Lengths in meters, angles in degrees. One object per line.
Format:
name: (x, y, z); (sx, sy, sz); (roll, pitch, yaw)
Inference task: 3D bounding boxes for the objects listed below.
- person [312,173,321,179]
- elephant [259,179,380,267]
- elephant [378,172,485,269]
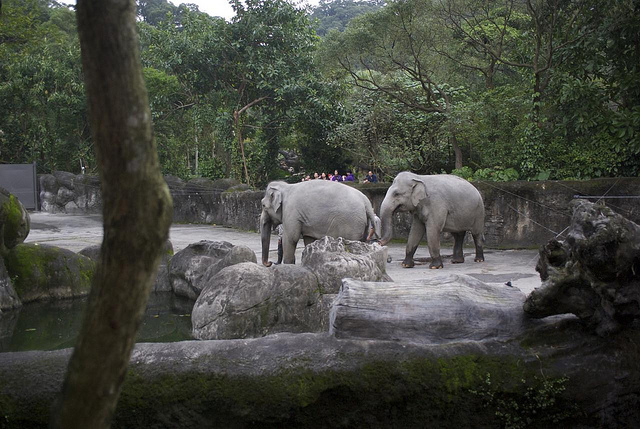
person: (-0.118, -1.642, 25.348); (0.293, 0.356, 0.840); (-1, 3, -2)
elephant: (-0.161, 0.088, 10.212); (1.971, 1.369, 1.194); (2, 6, 40)
elephant: (2.203, 0.069, 11.479); (2.173, 1.894, 1.001); (-1, 7, -10)
